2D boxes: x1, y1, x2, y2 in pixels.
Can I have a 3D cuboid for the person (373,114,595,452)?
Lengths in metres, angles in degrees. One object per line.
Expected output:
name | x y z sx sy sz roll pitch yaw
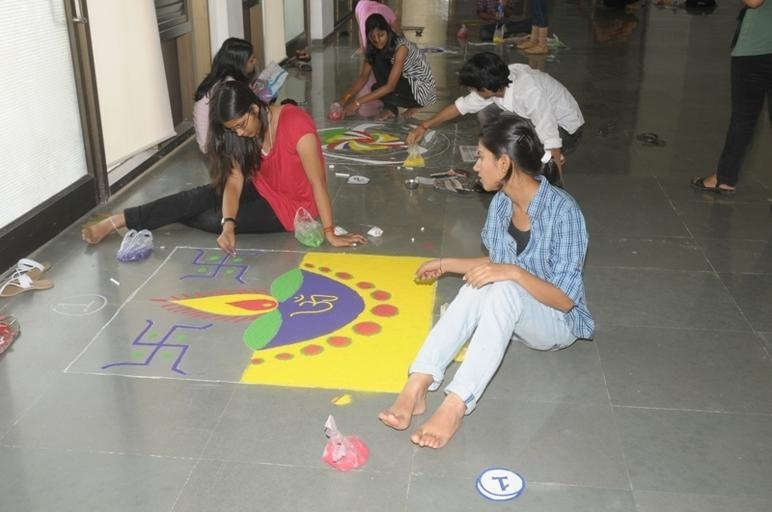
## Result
person | 0.510 0.045 2.753 1.117 1.237 0.637 -19 36 -27

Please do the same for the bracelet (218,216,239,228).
bracelet | -1.099 -0.233 3.995 0.088 0.058 0.092 10 -21 -40

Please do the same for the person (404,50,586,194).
person | 0.911 -1.231 4.944 1.623 0.967 0.993 18 45 28

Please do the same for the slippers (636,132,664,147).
slippers | 2.601 -1.124 5.625 0.226 0.055 0.146 11 45 3

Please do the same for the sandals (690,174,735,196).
sandals | 2.662 -0.565 4.676 0.286 0.108 0.146 15 31 24

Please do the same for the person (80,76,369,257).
person | -1.142 -0.590 3.886 2.000 1.030 1.169 -3 28 -3

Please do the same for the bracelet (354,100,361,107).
bracelet | -0.289 -1.645 6.223 0.019 0.057 0.060 -4 5 -38

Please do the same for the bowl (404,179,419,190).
bowl | 0.223 -0.611 4.820 0.100 0.057 0.096 -4 35 2

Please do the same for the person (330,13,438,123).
person | -0.040 -2.070 6.406 1.256 1.012 0.635 -15 31 -28

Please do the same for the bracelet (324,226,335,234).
bracelet | -0.378 -0.173 3.907 0.054 0.055 0.054 -3 -16 4

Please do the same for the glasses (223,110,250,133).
glasses | -0.908 -0.818 3.547 0.137 0.040 0.137 -11 17 39
